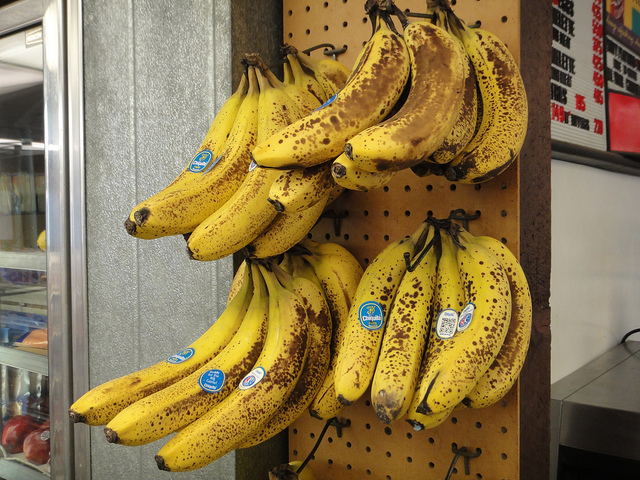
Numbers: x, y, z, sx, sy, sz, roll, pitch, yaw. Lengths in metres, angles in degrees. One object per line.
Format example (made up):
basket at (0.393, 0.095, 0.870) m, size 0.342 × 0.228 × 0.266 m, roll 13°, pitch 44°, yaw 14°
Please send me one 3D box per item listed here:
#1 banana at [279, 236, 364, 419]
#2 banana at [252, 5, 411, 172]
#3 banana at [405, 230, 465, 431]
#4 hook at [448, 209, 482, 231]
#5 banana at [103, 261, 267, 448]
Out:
banana at (0.012, 0.203, 1.631) m, size 0.203 × 0.459 × 0.109 m, roll -9°, pitch -14°, yaw 22°
banana at (0.077, -0.289, 1.479) m, size 0.218 × 0.489 × 0.147 m, roll 34°, pitch -14°, yaw 31°
banana at (0.287, 0.176, 1.536) m, size 0.095 × 0.504 × 0.149 m, roll 12°, pitch -18°, yaw -16°
hook at (0.360, -0.049, 1.623) m, size 0.043 × 0.059 × 0.009 m, roll 1°, pitch 7°, yaw 19°
banana at (-0.310, 0.289, 1.563) m, size 0.104 × 0.244 × 0.563 m, roll 26°, pitch 32°, yaw 18°
